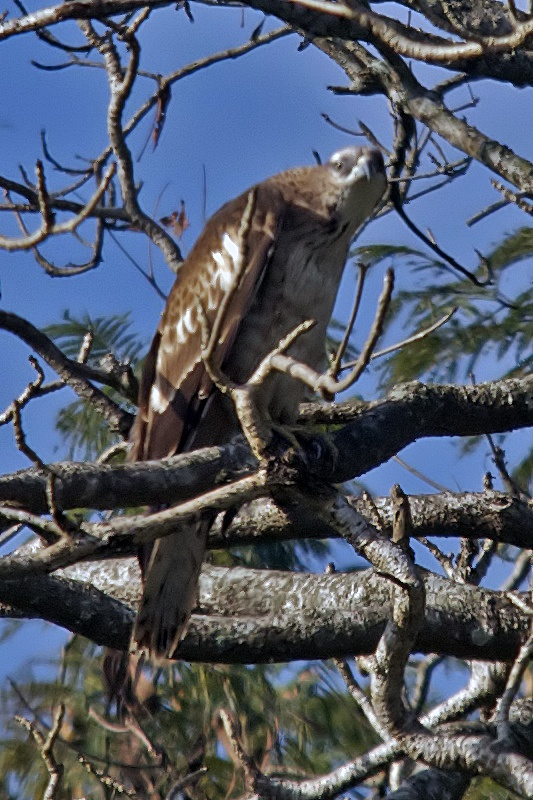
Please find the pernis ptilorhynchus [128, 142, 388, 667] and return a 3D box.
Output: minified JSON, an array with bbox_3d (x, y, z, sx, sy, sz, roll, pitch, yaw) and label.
[{"bbox_3d":[-0.072,-0.137,4.348,0.688,1.403,1.274,9,8,4],"label":"pernis ptilorhynchus"}]
